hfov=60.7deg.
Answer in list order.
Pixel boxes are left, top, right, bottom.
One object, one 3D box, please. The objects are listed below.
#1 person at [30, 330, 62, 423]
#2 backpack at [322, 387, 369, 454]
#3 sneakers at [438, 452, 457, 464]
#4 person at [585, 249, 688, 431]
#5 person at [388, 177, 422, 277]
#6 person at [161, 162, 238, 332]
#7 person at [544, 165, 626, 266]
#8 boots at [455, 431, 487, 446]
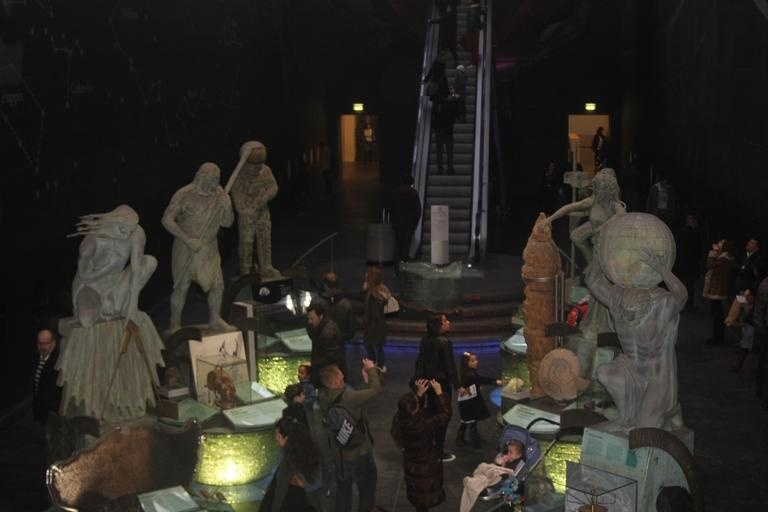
[{"bbox_3d":[-3.688,1.345,7.127,0.293,1.020,0.560,-5,9,-27],"label":"person"},{"bbox_3d":[-0.361,1.648,6.379,0.465,0.496,0.525,-2,8,-6],"label":"backpack"},{"bbox_3d":[0.751,2.377,7.673,0.215,0.130,0.085,-2,9,-9],"label":"sneakers"},{"bbox_3d":[2.174,0.742,5.616,0.759,1.520,0.450,2,9,24],"label":"person"},{"bbox_3d":[0.433,-0.613,12.996,0.589,1.908,0.502,0,8,8],"label":"person"},{"bbox_3d":[-2.289,-0.091,8.132,0.853,2.080,0.528,-4,8,-18],"label":"person"},{"bbox_3d":[2.426,-0.384,7.947,0.935,1.301,0.876,14,23,37],"label":"person"},{"bbox_3d":[1.069,2.236,8.067,0.420,0.283,0.140,-1,5,6],"label":"boots"}]
